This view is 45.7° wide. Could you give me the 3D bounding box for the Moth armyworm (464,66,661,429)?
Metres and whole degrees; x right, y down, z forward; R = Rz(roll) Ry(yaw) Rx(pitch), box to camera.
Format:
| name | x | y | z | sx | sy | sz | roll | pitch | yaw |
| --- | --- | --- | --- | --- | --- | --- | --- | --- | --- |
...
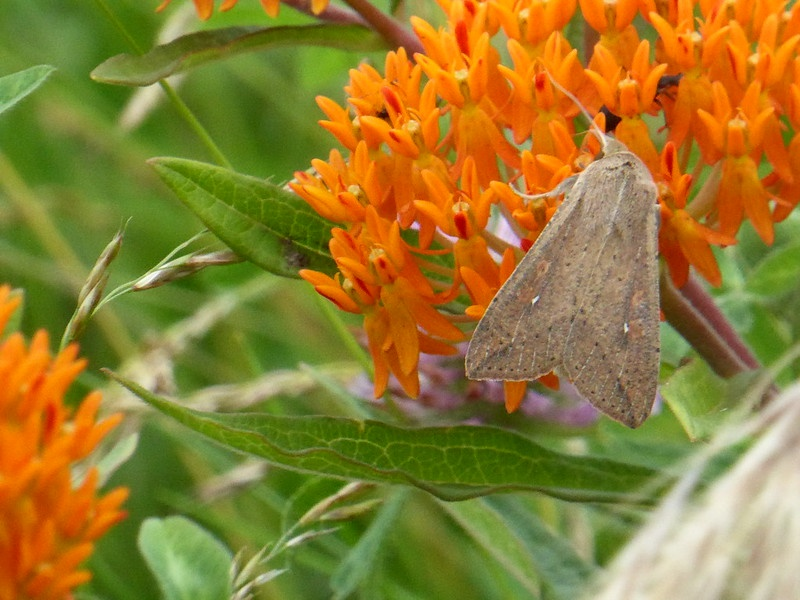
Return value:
| name | x | y | z | sx | sy | sz | roll | pitch | yaw |
| --- | --- | --- | --- | --- | --- | --- | --- | --- | --- |
| Moth armyworm | 0.324 | -0.099 | 1.601 | 0.341 | 0.544 | 0.140 | 15 | 12 | 3 |
